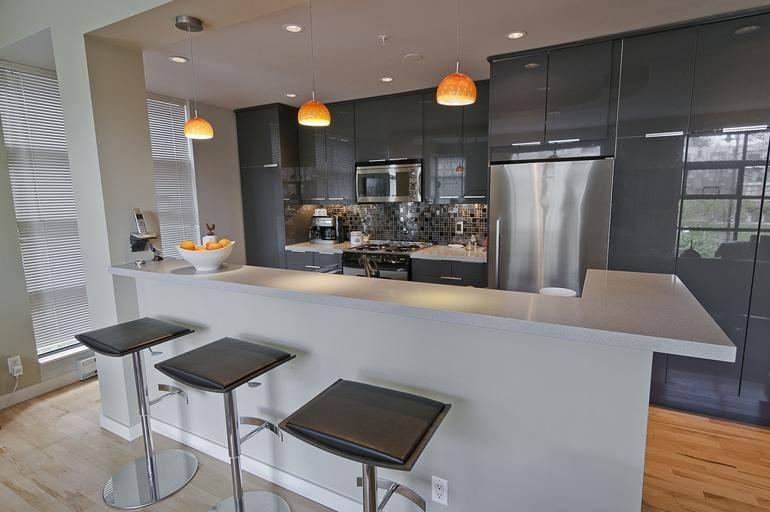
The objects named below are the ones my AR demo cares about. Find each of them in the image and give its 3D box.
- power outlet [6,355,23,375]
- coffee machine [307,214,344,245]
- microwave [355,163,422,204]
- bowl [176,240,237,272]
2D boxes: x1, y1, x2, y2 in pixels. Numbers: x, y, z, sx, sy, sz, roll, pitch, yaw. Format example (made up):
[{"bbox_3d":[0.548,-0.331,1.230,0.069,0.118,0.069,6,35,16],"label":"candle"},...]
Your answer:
[{"bbox_3d":[-3.475,1.030,4.861,0.113,0.196,0.046,-10,14,-39],"label":"power outlet"},{"bbox_3d":[-0.761,-0.346,6.886,0.448,0.397,0.354,1,2,18],"label":"coffee machine"},{"bbox_3d":[0.037,-0.894,6.267,0.841,0.483,0.513,2,6,25],"label":"microwave"},{"bbox_3d":[-1.466,0.003,4.256,0.449,0.220,0.479,-5,2,0],"label":"bowl"}]
